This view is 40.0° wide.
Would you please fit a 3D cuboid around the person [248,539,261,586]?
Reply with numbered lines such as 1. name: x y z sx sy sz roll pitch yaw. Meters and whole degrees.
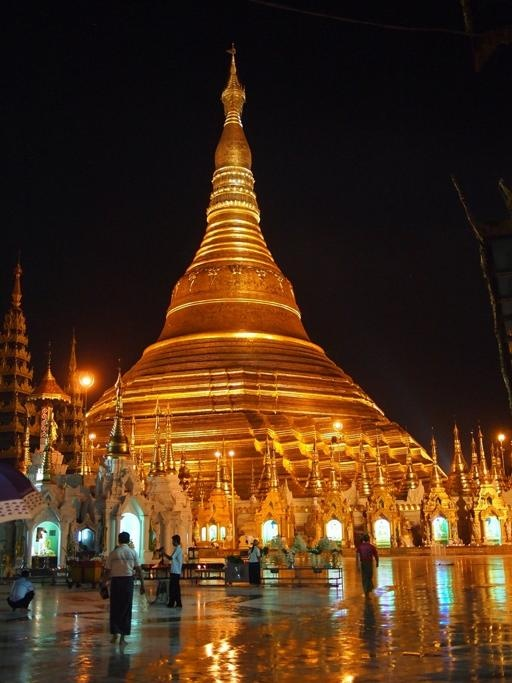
1. person: -0.052 4.519 14.485 0.250 0.882 0.414 -1 -21 -1

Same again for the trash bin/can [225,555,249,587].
1. trash bin/can: -0.413 4.733 14.632 0.468 0.569 0.495 -1 -21 0

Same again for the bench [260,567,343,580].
1. bench: 0.954 5.166 15.569 1.678 0.375 3.696 -2 -20 1
